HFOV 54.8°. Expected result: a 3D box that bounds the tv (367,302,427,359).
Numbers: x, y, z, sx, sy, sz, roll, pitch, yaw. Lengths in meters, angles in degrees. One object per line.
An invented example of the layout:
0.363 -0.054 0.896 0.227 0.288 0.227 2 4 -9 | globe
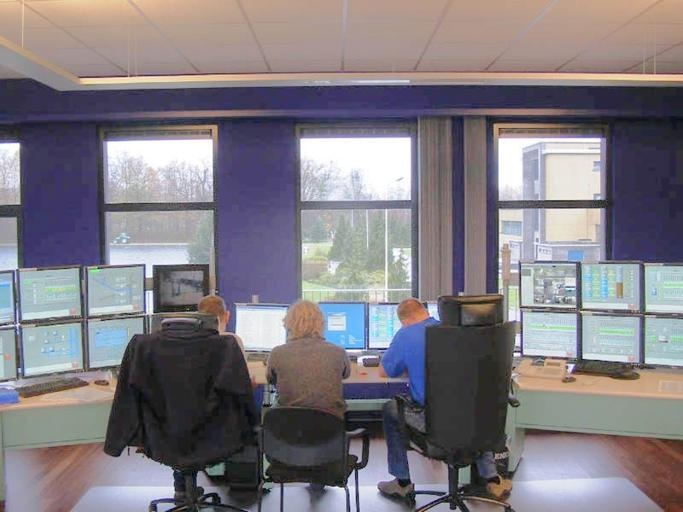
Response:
0.473 0.620 5.550 0.527 0.547 0.046 1 -2 -4 | tv

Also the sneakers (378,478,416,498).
0.452 1.902 5.441 0.334 0.150 0.124 1 -3 30 | sneakers

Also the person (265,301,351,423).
-0.193 0.803 5.256 0.703 1.139 0.733 1 -8 -1 | person

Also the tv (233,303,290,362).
-0.691 0.682 5.821 0.499 0.521 0.051 0 -1 5 | tv

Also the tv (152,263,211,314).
-1.517 0.322 6.227 0.445 0.407 0.050 -1 0 -7 | tv
